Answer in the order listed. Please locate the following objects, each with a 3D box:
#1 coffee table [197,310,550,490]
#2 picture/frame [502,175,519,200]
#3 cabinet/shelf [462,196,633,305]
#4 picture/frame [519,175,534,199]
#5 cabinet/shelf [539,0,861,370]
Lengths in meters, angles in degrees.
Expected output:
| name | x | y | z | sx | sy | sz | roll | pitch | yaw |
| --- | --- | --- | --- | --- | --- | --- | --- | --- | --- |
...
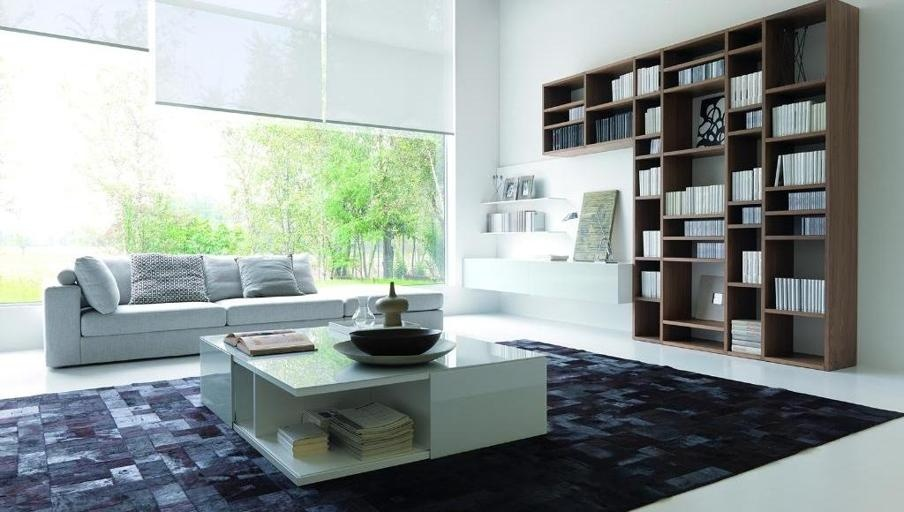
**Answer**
| name | x | y | z | sx | sy | sz | roll | pitch | yaw |
| --- | --- | --- | --- | --- | --- | --- | --- | --- | --- |
| coffee table | -0.457 | 1.053 | 4.047 | 1.415 | 0.335 | 1.458 | -1 | 2 | -29 |
| picture/frame | 0.940 | -1.093 | 8.790 | 0.078 | 0.467 | 0.460 | 3 | 3 | -26 |
| cabinet/shelf | 1.315 | -0.174 | 8.064 | 0.715 | 1.396 | 2.872 | -13 | 11 | -41 |
| picture/frame | 1.144 | -1.075 | 8.546 | 0.133 | 0.337 | 0.263 | -8 | 7 | -36 |
| cabinet/shelf | 3.043 | -0.743 | 6.413 | 2.624 | 3.746 | 0.832 | 1 | 8 | 43 |
